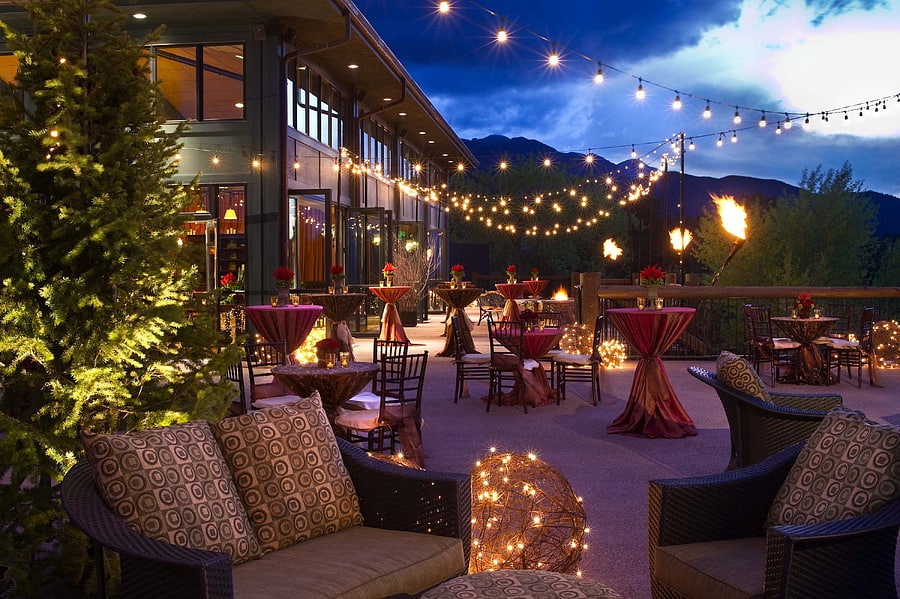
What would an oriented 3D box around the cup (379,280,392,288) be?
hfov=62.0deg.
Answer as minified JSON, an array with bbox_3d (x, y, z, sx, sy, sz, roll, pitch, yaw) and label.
[{"bbox_3d":[-1.376,-0.330,15.589,0.170,0.130,0.176,0,1,0],"label":"cup"}]

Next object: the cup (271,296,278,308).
[{"bbox_3d":[-2.490,0.032,10.549,0.145,0.169,0.144,0,1,0],"label":"cup"}]

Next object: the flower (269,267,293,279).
[{"bbox_3d":[-2.363,-0.364,10.563,0.218,0.166,0.227,0,1,5],"label":"flower"}]

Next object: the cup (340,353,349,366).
[{"bbox_3d":[-0.998,0.554,7.023,0.093,0.155,0.099,0,5,0],"label":"cup"}]

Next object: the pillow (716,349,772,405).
[{"bbox_3d":[2.291,0.647,5.937,0.309,0.411,0.554,-3,-6,13],"label":"pillow"}]

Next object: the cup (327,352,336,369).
[{"bbox_3d":[-1.091,0.550,6.821,0.105,0.177,0.107,0,4,0],"label":"cup"}]
